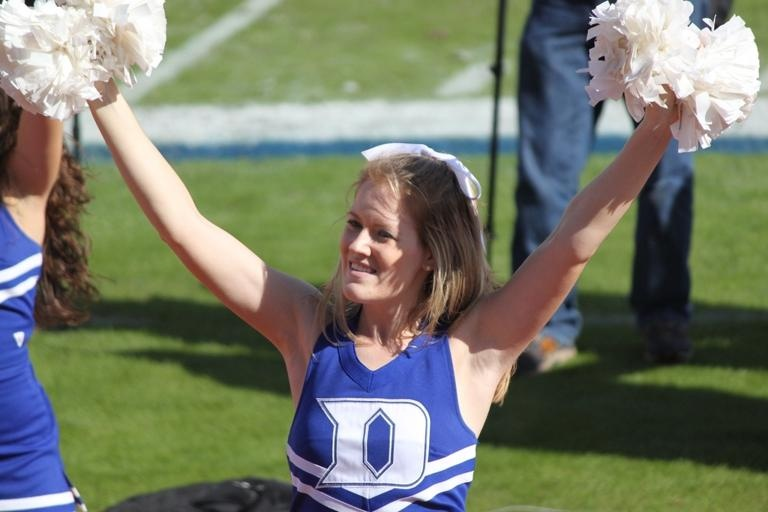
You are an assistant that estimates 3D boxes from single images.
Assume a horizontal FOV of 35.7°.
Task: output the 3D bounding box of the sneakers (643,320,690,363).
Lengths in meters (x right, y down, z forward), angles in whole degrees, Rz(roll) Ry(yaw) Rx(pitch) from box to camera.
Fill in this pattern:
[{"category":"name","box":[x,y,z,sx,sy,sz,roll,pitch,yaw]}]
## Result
[{"category":"sneakers","box":[1.616,0.471,6.660,0.264,0.220,0.214,-2,-4,14]}]
